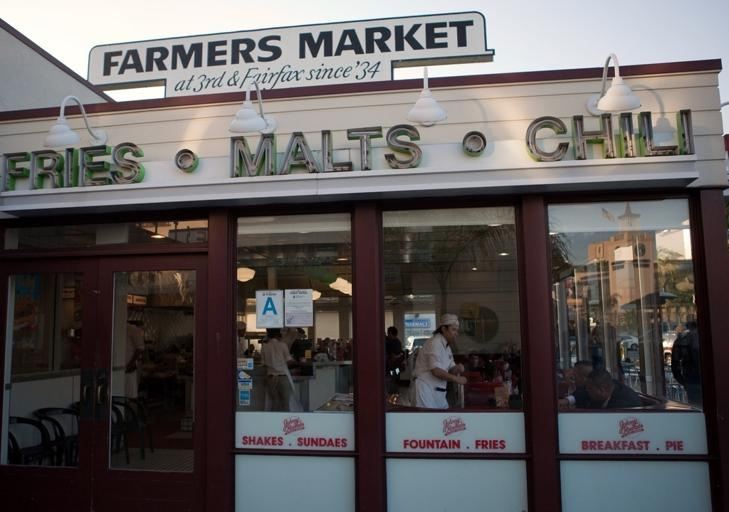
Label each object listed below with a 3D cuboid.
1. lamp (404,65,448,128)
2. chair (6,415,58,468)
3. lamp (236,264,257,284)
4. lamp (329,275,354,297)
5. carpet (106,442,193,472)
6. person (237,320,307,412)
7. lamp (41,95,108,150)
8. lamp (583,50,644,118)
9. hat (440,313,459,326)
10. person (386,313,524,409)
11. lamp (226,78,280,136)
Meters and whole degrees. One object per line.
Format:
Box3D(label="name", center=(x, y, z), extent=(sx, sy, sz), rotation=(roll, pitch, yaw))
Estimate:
Box3D(label="lamp", center=(0.661, -1.716, 8.275), extent=(0.399, 0.640, 0.679), rotation=(-4, -11, 6))
Box3D(label="chair", center=(-3.965, 2.180, 9.057), extent=(0.494, 0.780, 0.568), rotation=(11, -27, -39))
Box3D(label="lamp", center=(-1.370, 0.207, 8.799), extent=(0.179, 0.080, 0.184), rotation=(5, -17, -19))
Box3D(label="lamp", center=(-0.278, 0.343, 8.638), extent=(0.250, 0.216, 0.058), rotation=(-2, -11, -3))
Box3D(label="carpet", center=(-2.449, 2.330, 8.769), extent=(0.984, 0.278, 0.032), rotation=(-5, -11, 9))
Box3D(label="person", center=(-1.090, 1.304, 8.685), extent=(0.712, 0.896, 0.172), rotation=(-1, -11, -8))
Box3D(label="lamp", center=(-3.326, -1.517, 8.859), extent=(0.354, 0.583, 0.774), rotation=(7, 5, 23))
Box3D(label="lamp", center=(2.657, -1.845, 8.242), extent=(0.432, 0.636, 0.844), rotation=(-7, 4, -4))
Box3D(label="hat", center=(0.953, 0.708, 8.590), extent=(0.153, 0.131, 0.118), rotation=(-12, 0, 19))
Box3D(label="person", center=(1.102, 1.264, 8.848), extent=(1.302, 1.181, 0.833), rotation=(-1, -8, 5))
Box3D(label="lamp", center=(-1.221, -1.612, 8.487), extent=(0.357, 0.626, 0.678), rotation=(2, 3, 21))
